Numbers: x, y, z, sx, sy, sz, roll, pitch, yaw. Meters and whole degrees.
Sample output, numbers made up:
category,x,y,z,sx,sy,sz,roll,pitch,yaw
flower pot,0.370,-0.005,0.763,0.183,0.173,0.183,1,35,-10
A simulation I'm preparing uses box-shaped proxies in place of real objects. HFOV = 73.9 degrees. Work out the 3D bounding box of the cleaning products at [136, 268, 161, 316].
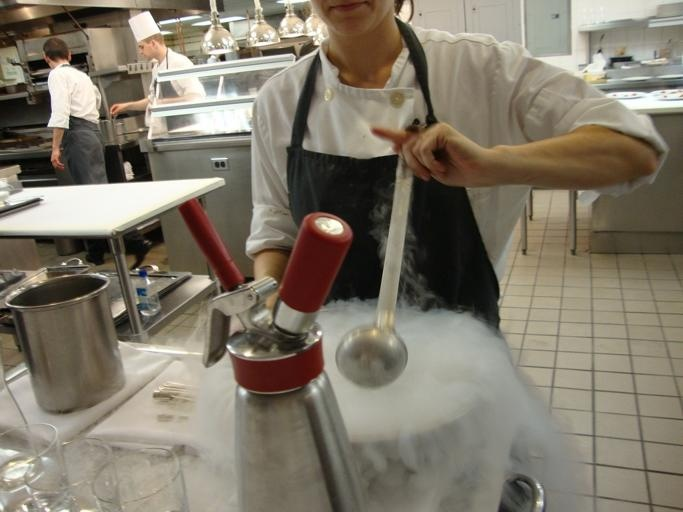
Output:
category,x,y,z,sx,sy,sz,roll,pitch,yaw
cleaning products,-0.973,0.180,2.264,0.100,0.213,0.102,-9,15,-21

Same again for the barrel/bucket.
category,x,y,z,sx,sy,sz,roll,pitch,yaw
barrel/bucket,-0.517,0.161,0.873,0.175,0.213,0.160,-5,22,2
